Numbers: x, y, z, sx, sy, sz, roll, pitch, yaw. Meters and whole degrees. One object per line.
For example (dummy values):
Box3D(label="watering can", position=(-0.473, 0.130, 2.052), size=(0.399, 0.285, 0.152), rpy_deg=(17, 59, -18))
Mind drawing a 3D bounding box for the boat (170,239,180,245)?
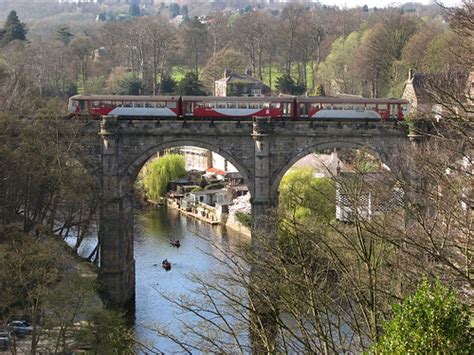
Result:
Box3D(label="boat", position=(-5.860, 6.174, 80.870), size=(0.421, 0.519, 1.105), rpy_deg=(14, 15, -40))

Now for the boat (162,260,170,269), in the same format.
Box3D(label="boat", position=(-6.147, 7.666, 74.511), size=(0.851, 0.776, 0.701), rpy_deg=(1, 1, 21))

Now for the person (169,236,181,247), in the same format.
Box3D(label="person", position=(-5.896, 6.166, 80.934), size=(0.477, 0.610, 1.243), rpy_deg=(4, 16, -22))
